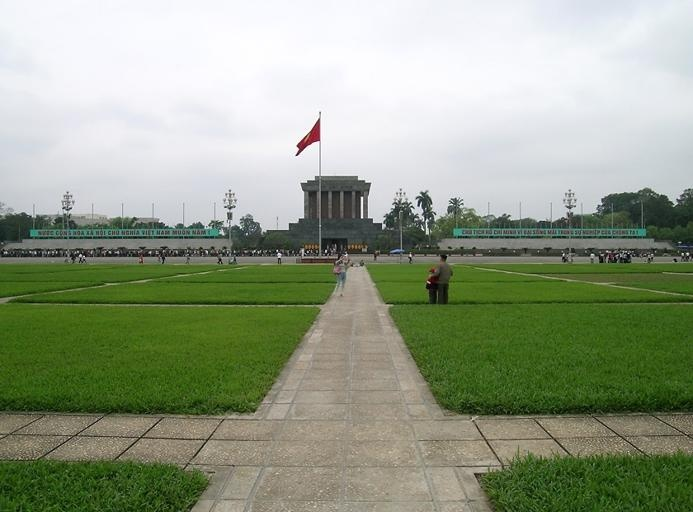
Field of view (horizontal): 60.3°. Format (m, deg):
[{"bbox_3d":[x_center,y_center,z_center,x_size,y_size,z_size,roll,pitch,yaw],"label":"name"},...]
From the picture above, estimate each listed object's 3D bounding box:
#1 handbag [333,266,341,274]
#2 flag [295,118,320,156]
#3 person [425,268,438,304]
[{"bbox_3d":[-0.368,0.533,22.903,0.205,0.302,0.295,-1,-5,6],"label":"handbag"},{"bbox_3d":[-2.854,-9.226,45.772,1.683,2.554,6.026,-1,13,-4],"label":"flag"},{"bbox_3d":[2.894,0.965,20.120,0.402,1.253,0.775,2,13,8],"label":"person"}]
